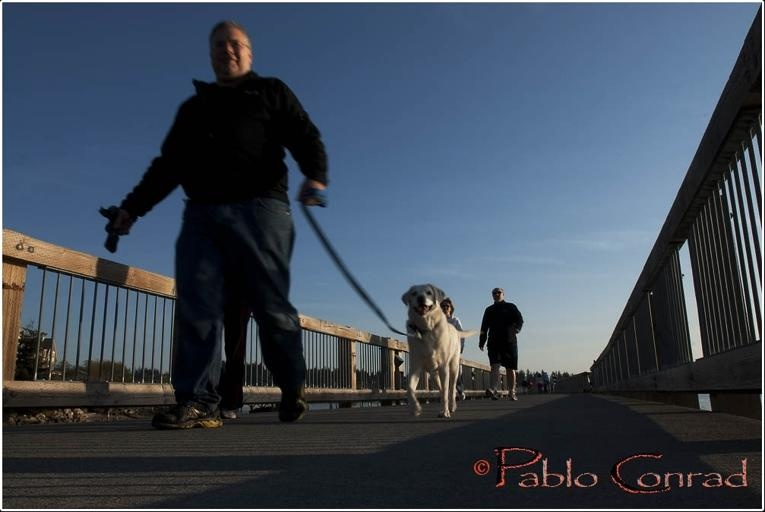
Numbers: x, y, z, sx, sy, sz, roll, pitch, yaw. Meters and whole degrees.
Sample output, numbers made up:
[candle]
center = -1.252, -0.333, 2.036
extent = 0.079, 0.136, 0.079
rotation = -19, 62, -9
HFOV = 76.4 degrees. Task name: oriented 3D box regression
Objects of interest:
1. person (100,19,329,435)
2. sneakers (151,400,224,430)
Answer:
[person]
center = -1.134, -0.050, 3.698
extent = 1.509, 2.605, 0.538
rotation = -3, -11, 12
[sneakers]
center = -1.397, 1.183, 3.556
extent = 0.484, 0.235, 0.200
rotation = 20, -23, -32
